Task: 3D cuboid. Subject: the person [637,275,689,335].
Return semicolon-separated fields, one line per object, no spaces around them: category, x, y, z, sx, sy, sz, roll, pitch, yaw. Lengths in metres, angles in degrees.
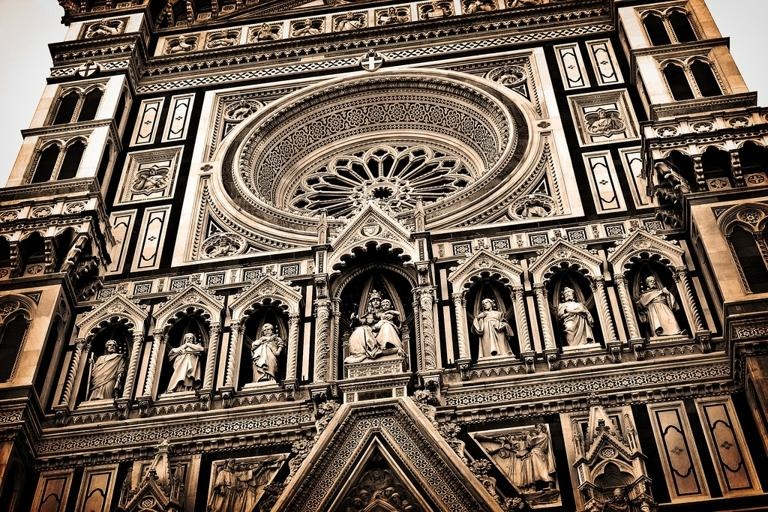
person;5.393;1.034;20.921;0.789;1.480;0.325;-11;-37;13

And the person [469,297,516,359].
person;2.152;1.437;21.031;0.806;1.478;0.237;-4;-36;4

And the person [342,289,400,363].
person;-0.202;1.370;21.120;1.092;1.910;0.538;-8;-44;3

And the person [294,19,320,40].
person;-2.120;-6.251;29.572;1.057;0.845;0.199;-4;-56;3

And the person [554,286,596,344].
person;3.782;1.215;20.994;0.661;1.348;0.401;-1;-35;-9

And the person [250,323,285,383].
person;-2.360;1.938;21.325;0.674;1.342;0.386;-3;-36;1

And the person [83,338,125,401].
person;-5.569;2.334;21.462;0.707;1.477;0.366;5;-37;-8

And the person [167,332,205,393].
person;-3.965;2.143;21.339;0.713;1.426;0.347;0;-36;-1
